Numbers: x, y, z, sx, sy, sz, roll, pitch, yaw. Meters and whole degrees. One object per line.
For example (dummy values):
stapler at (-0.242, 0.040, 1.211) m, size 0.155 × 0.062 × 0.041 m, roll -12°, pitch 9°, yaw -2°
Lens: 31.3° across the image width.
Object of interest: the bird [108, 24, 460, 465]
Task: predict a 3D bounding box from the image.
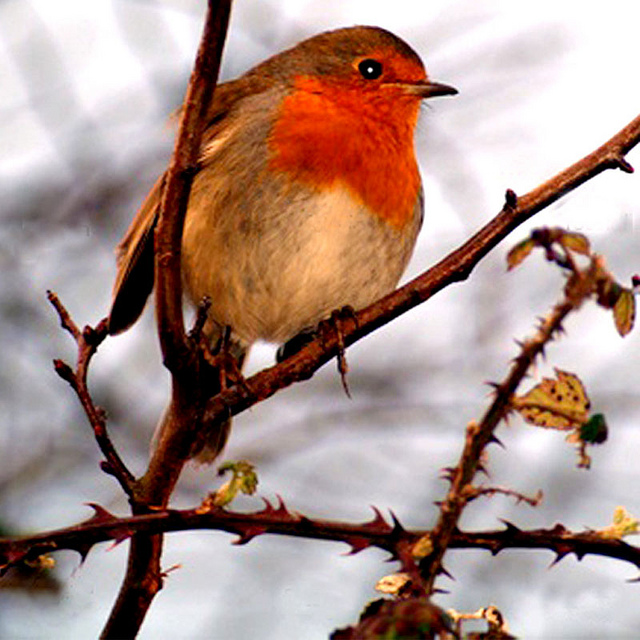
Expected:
bird at (-0.067, -0.169, 1.624) m, size 0.359 × 0.512 × 0.587 m, roll 11°, pitch -6°, yaw -31°
